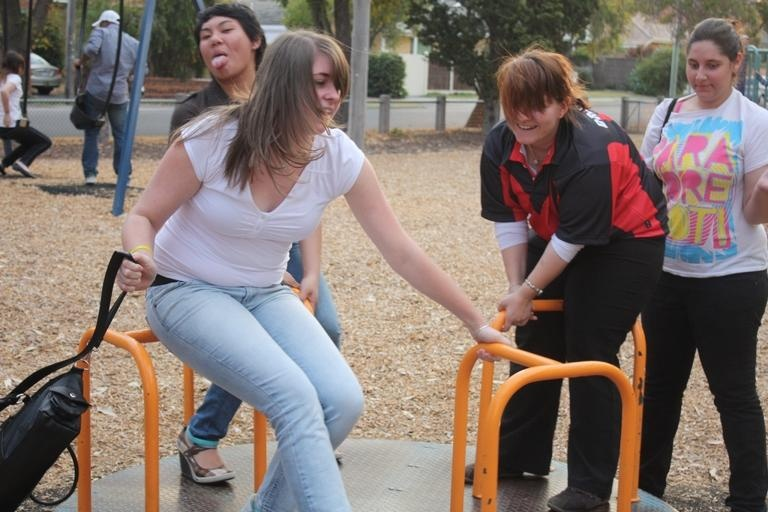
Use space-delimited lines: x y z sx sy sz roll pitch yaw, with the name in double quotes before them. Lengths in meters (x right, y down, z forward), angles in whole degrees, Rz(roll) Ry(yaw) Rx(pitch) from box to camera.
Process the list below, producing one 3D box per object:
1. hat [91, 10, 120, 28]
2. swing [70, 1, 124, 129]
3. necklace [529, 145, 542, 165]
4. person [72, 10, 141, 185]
"hat" -2.866 -2.409 10.028 0.267 0.163 0.189 0 11 -6
"swing" -2.762 -1.721 9.802 0.439 1.564 0.511 12 -17 -39
"necklace" 0.787 -0.517 5.107 0.055 0.080 0.025 -23 -2 43
"person" -2.910 -1.660 10.238 0.671 1.751 0.478 -1 9 -41
